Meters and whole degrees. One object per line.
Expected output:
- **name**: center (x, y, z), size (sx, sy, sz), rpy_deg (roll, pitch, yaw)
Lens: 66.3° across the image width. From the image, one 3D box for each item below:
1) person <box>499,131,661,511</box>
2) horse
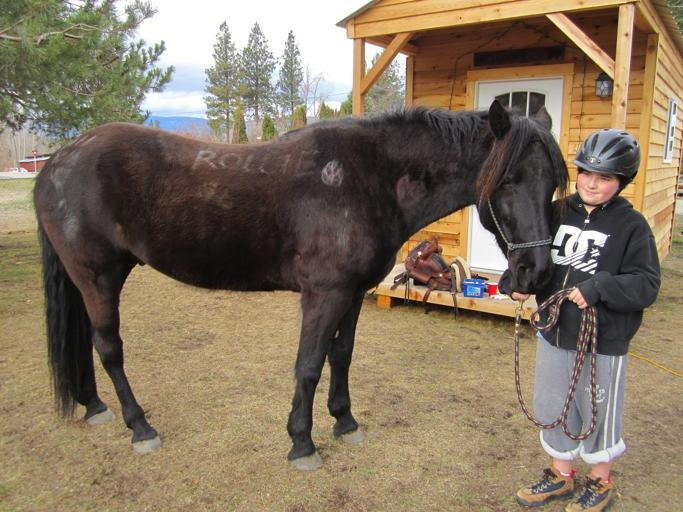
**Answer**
- **person**: center (1.450, 0.420, 3.059), size (0.615, 2.271, 0.411), rpy_deg (8, 13, 22)
- **horse**: center (-0.394, 0.177, 3.781), size (3.576, 2.541, 0.876), rpy_deg (1, 11, 1)
